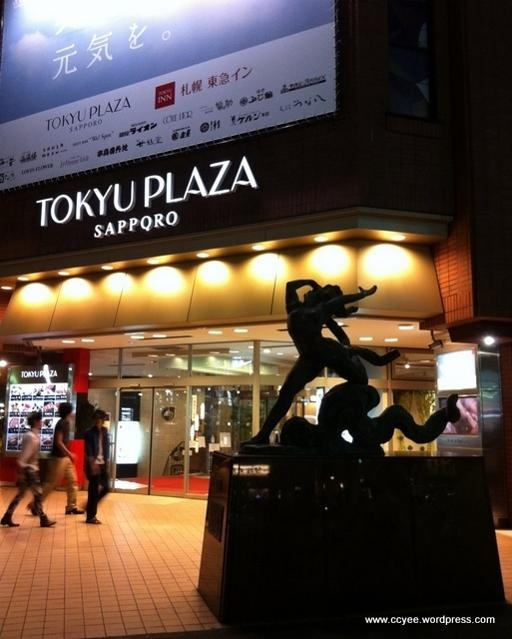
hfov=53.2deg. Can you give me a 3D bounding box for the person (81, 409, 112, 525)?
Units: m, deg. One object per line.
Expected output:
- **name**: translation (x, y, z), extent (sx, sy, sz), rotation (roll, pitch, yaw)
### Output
- **person**: translation (-2.421, 2.256, 7.758), extent (0.379, 1.693, 0.750), rotation (4, -14, -16)

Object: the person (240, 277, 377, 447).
- **person**: translation (0.542, 0.416, 5.288), extent (1.565, 1.873, 1.050), rotation (11, -16, -36)

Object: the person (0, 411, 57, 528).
- **person**: translation (-3.196, 2.197, 7.407), extent (0.617, 1.621, 0.584), rotation (12, -18, -39)

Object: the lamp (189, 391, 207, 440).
- **lamp**: translation (-1.282, 2.114, 11.215), extent (0.389, 1.114, 0.127), rotation (-8, -16, 32)
